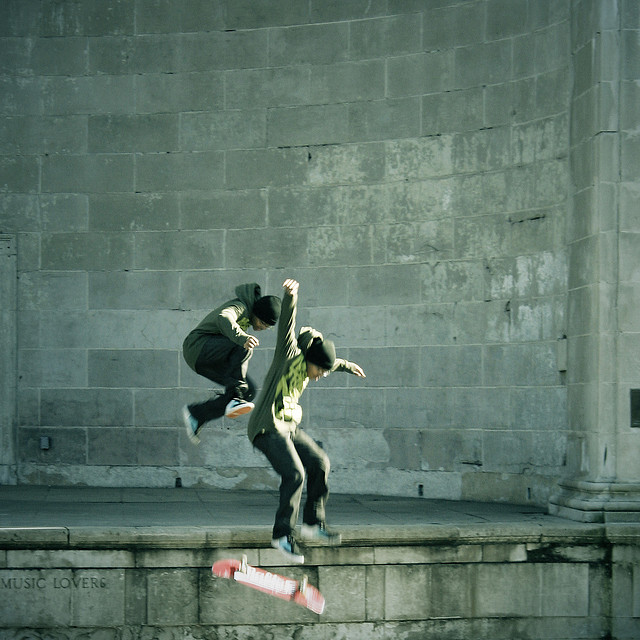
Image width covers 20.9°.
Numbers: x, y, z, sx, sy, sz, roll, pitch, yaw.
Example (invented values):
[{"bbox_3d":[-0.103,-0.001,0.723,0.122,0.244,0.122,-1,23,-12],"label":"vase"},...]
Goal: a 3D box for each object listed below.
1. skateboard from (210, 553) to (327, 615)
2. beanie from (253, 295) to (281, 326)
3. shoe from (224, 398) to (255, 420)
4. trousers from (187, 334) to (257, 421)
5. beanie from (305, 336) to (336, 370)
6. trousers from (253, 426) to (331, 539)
[{"bbox_3d":[-0.522,2.515,16.502,0.910,0.191,0.409,14,-23,-4],"label":"skateboard"},{"bbox_3d":[-0.499,-0.092,16.880,0.264,0.279,0.257,2,-5,-2],"label":"beanie"},{"bbox_3d":[-0.763,0.883,17.182,0.396,0.167,0.134,-25,-32,37],"label":"shoe"},{"bbox_3d":[-0.956,0.583,17.749,0.612,0.873,0.606,-2,6,-33],"label":"trousers"},{"bbox_3d":[0.014,0.324,16.407,0.277,0.308,0.169,1,-5,8],"label":"beanie"},{"bbox_3d":[-0.231,1.560,16.472,0.698,1.056,0.421,7,-7,-43],"label":"trousers"}]
